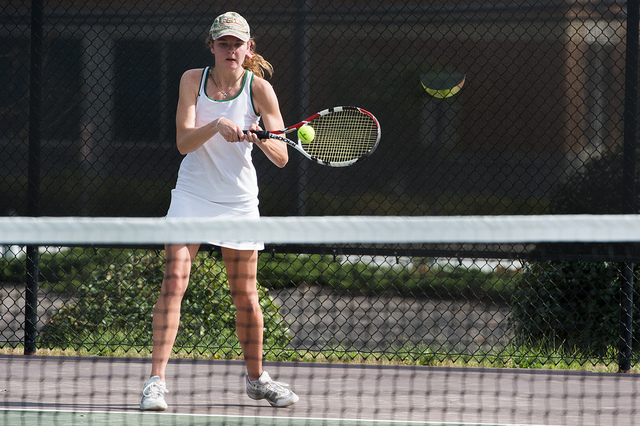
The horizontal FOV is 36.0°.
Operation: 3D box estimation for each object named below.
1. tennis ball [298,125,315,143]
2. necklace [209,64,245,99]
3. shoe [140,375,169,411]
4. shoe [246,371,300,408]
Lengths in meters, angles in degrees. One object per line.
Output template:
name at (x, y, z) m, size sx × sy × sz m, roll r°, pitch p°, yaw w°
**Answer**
tennis ball at (-0.089, -0.572, 7.093) m, size 0.140 × 0.132 × 0.107 m, roll -3°, pitch 12°, yaw -19°
necklace at (-0.629, -0.888, 6.699) m, size 0.188 × 0.284 × 0.015 m, roll 2°, pitch -4°, yaw -3°
shoe at (-1.156, 1.257, 6.826) m, size 0.175 × 0.249 × 0.509 m, roll 10°, pitch -8°, yaw -9°
shoe at (-0.343, 1.259, 6.997) m, size 0.412 × 0.227 × 0.186 m, roll 13°, pitch 11°, yaw 12°
